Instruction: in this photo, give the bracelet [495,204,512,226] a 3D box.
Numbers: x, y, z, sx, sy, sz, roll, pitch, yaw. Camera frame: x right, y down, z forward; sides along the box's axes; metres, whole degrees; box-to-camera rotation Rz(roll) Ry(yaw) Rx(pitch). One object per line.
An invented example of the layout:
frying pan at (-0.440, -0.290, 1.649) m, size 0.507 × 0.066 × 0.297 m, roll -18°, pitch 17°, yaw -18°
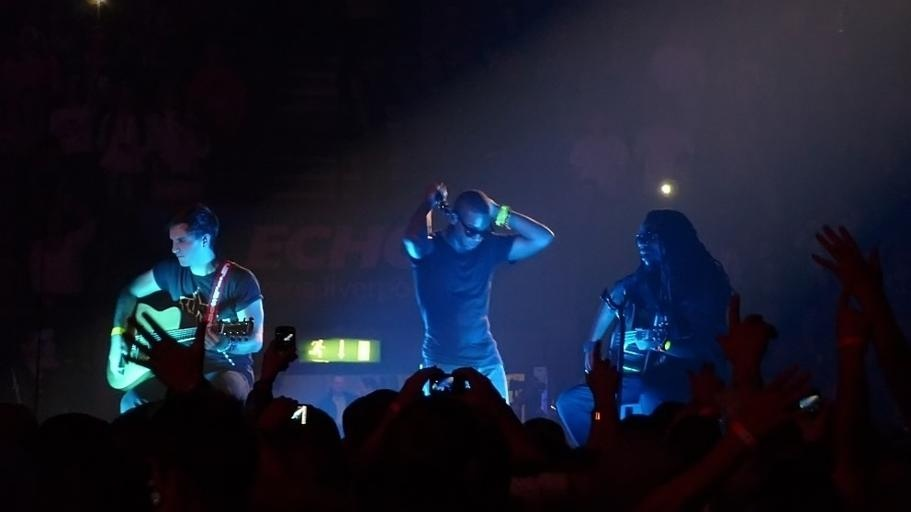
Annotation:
bracelet at (0.576, -0.490, 10.245) m, size 0.103 × 0.228 × 0.183 m, roll 8°, pitch 11°, yaw -13°
